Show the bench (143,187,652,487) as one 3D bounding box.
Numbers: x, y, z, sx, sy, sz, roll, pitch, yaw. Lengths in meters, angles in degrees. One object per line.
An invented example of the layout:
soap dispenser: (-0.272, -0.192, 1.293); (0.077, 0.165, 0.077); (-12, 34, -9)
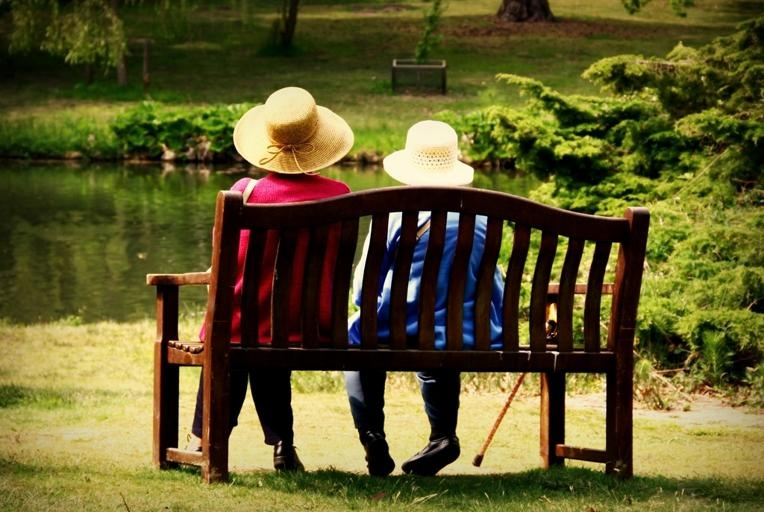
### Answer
bench: (0.135, 0.544, 11.107); (2.924, 1.941, 1.158); (2, -1, -25)

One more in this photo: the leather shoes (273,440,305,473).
leather shoes: (-0.606, 1.263, 11.005); (0.101, 0.134, 0.279); (-1, -13, 40)

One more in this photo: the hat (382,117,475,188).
hat: (0.275, -0.644, 11.157); (0.567, 0.329, 0.607); (-22, 26, -28)
